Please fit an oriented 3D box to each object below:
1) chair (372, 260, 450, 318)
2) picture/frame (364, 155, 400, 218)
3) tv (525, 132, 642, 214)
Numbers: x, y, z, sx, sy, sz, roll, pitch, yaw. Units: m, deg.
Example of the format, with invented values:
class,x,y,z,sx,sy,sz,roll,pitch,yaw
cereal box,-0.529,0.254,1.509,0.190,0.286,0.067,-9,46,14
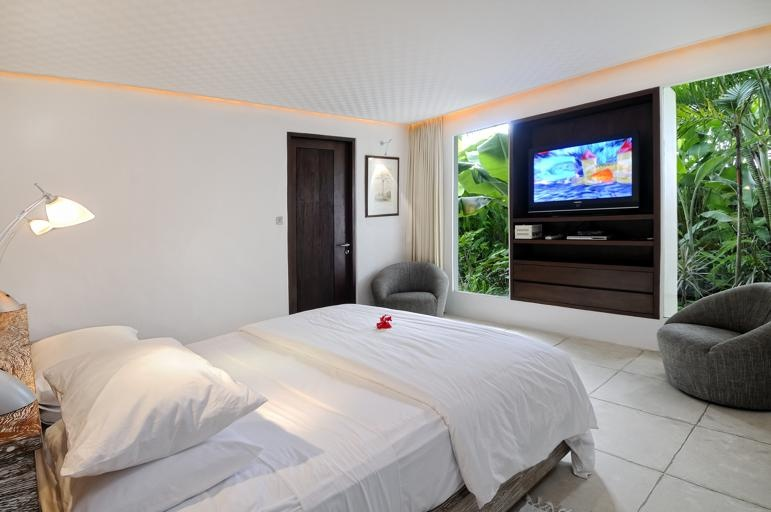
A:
class,x,y,z,sx,sy,sz,roll,pitch,yaw
chair,0.376,0.504,6.195,1.012,0.845,0.817,0,-1,-17
picture/frame,-0.022,-0.987,6.676,0.130,0.878,0.649,4,8,45
tv,2.342,-0.943,5.356,1.128,0.774,0.132,-1,0,40
